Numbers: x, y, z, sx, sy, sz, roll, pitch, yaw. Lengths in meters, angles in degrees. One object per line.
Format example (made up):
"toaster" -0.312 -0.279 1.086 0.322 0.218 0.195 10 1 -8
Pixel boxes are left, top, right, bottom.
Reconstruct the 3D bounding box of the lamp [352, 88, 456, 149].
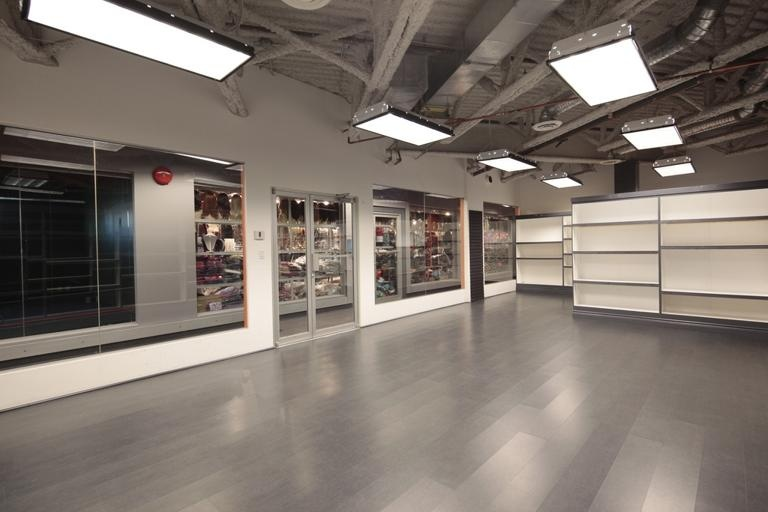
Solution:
"lamp" 0.278 -1.960 6.661 1.327 0.447 0.710 -4 1 -34

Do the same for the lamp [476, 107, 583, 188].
"lamp" 2.705 -1.921 8.994 1.408 0.485 2.136 -12 -11 44
